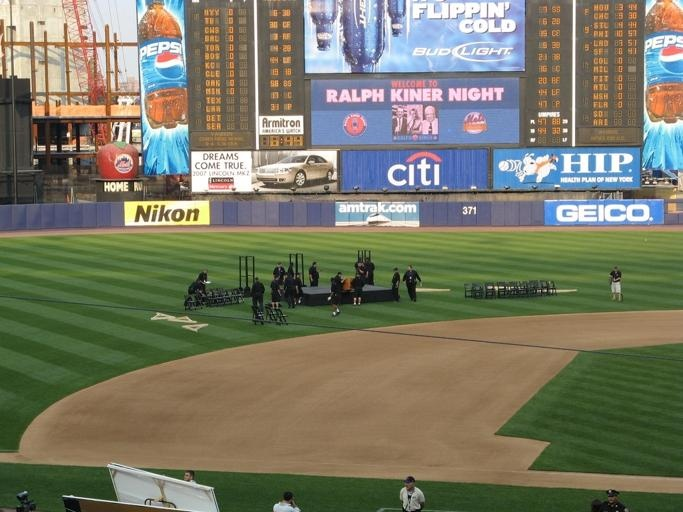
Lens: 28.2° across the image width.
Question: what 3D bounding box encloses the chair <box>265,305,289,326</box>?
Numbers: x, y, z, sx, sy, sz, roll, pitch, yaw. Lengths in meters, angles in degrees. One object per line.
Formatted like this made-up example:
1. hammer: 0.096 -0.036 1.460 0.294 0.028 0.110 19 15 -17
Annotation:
1. chair: -3.265 2.886 66.212 1.112 1.216 0.871 -4 9 -20

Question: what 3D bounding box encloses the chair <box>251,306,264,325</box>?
1. chair: -4.085 2.808 65.948 0.552 0.888 0.815 0 3 -3

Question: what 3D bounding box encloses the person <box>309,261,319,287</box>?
1. person: -1.481 0.924 70.826 0.418 1.248 1.110 0 3 -2
